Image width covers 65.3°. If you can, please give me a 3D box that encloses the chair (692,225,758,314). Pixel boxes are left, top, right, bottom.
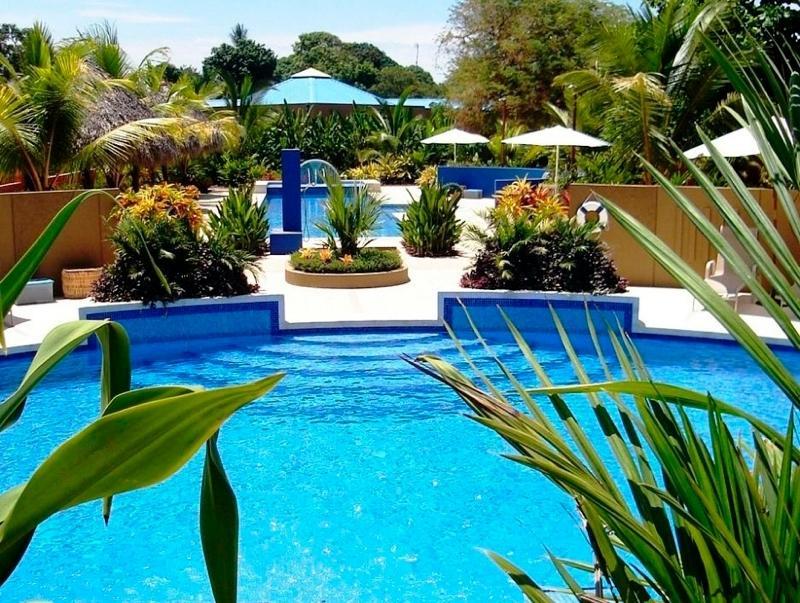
[{"bbox_3d":[5.524,-0.533,10.357,0.797,1.249,0.668,-3,8,-42],"label":"chair"}]
